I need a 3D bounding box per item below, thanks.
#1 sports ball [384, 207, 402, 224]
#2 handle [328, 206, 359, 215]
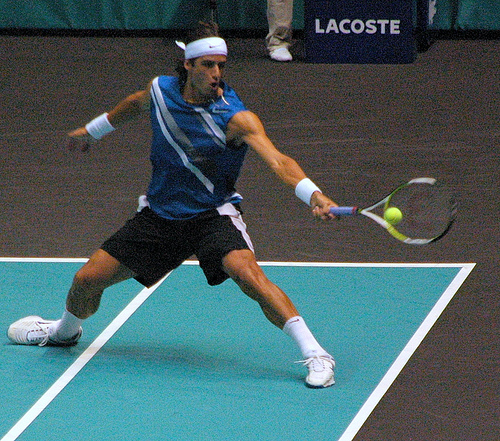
[{"bbox_3d":[0.675,-0.030,3.143,0.094,0.067,0.083,12,9,23],"label":"sports ball"},{"bbox_3d":[0.422,-0.045,2.966,0.204,0.041,0.043,0,36,38],"label":"handle"}]
